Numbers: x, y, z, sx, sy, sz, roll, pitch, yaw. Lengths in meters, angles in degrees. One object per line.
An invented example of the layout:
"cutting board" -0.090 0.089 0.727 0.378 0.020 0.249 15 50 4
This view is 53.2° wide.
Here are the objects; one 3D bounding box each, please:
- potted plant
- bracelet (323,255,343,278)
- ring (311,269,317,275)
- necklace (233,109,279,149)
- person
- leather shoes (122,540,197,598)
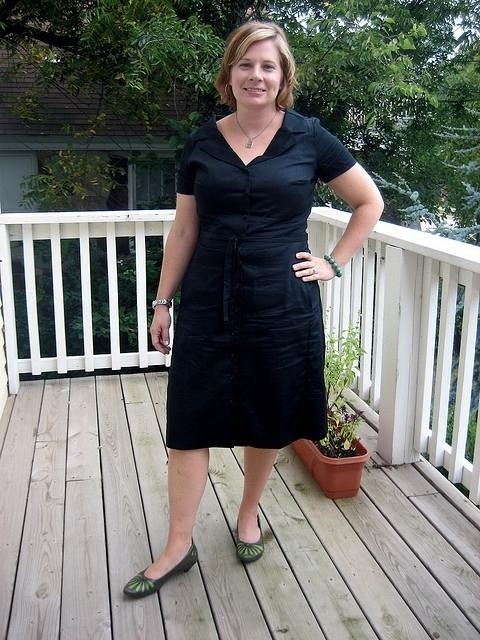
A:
"potted plant" 0.414 0.390 2.109 0.248 0.623 0.660 -5 5 2
"bracelet" 0.248 -0.145 1.293 0.023 0.049 0.064 -34 -38 10
"ring" 0.183 -0.116 1.180 0.009 0.011 0.012 0 4 4
"necklace" 0.038 -0.435 1.104 0.096 0.100 0.008 6 -8 12
"person" 0.028 0.037 1.260 0.628 1.446 0.326 3 9 16
"leather shoes" -0.230 0.705 1.396 0.073 0.089 0.223 5 6 43
